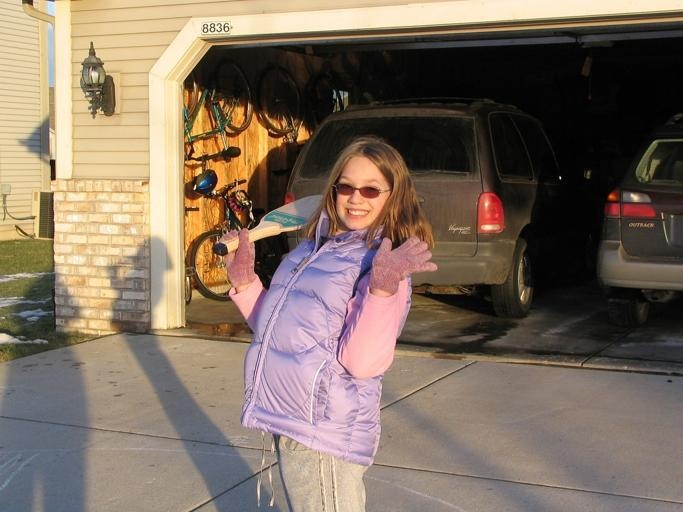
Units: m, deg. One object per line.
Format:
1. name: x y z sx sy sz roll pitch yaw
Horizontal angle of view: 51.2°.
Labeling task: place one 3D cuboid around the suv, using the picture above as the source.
1. suv: 1.359 -0.546 8.146 1.812 1.695 3.689 2 15 18

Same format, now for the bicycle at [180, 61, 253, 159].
1. bicycle: -1.811 -2.178 10.418 0.701 0.989 1.490 0 19 20

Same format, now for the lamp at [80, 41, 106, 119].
1. lamp: -2.810 -1.969 8.048 0.343 0.807 0.225 4 8 36

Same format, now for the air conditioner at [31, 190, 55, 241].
1. air conditioner: -8.058 -1.052 19.234 0.393 1.364 1.373 -4 8 -28

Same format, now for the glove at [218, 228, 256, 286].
1. glove: -0.495 0.005 3.562 0.168 0.277 0.077 1 1 10

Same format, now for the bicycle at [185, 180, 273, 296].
1. bicycle: -1.558 -0.330 10.667 0.804 1.369 1.917 1 11 24

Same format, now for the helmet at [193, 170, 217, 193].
1. helmet: -1.879 -0.999 9.799 0.325 0.337 0.367 -3 8 -20
